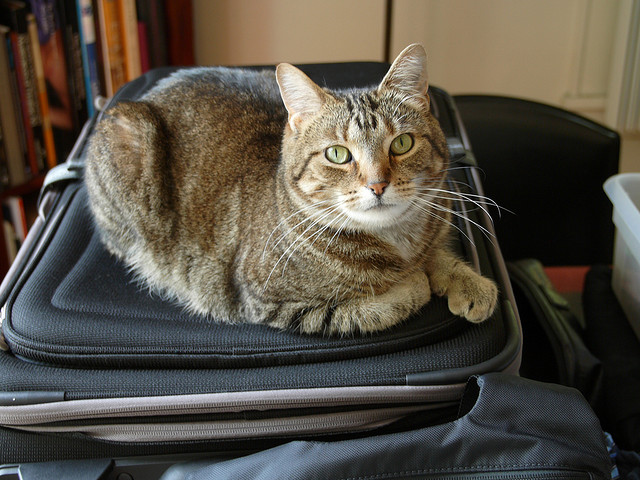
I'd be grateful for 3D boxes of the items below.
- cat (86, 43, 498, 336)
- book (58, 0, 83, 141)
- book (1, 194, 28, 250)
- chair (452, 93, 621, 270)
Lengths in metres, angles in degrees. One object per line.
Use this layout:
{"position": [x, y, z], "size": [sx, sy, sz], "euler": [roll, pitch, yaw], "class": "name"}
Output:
{"position": [-0.084, -0.173, 1.333], "size": [0.572, 0.522, 0.831], "euler": [-21, 36, -39], "class": "cat"}
{"position": [-0.645, -0.443, 1.618], "size": [0.024, 0.322, 0.030], "euler": [-7, 11, -27], "class": "book"}
{"position": [-0.785, -0.047, 1.605], "size": [0.011, 0.121, 0.086], "euler": [-9, 35, -30], "class": "book"}
{"position": [0.510, -0.135, 1.490], "size": [0.293, 0.516, 0.270], "euler": [2, 49, 23], "class": "chair"}
